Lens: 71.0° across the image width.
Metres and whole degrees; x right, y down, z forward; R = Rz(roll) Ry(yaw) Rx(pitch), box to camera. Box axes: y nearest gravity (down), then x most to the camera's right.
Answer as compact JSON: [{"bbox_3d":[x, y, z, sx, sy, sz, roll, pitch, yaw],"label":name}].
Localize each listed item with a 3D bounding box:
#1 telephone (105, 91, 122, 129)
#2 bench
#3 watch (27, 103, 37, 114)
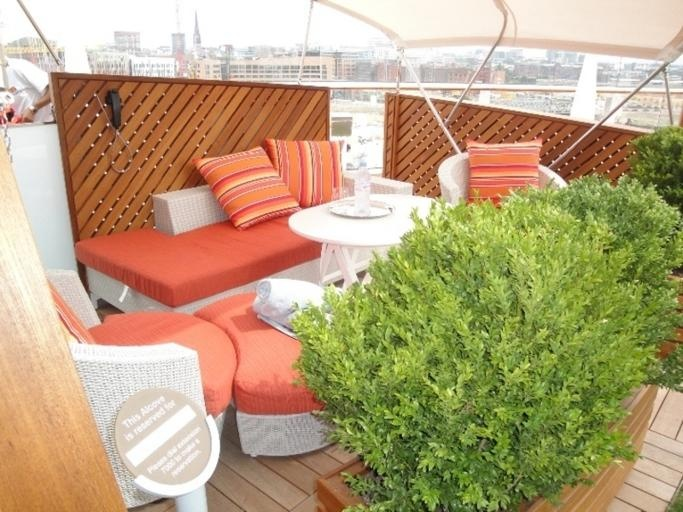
[{"bbox_3d":[-1.323,-0.853,2.778,0.079,0.230,0.061,-11,31,-24],"label":"telephone"},{"bbox_3d":[-0.829,0.003,2.993,2.081,0.768,1.189,-17,26,-42],"label":"bench"},{"bbox_3d":[-1.735,-0.828,2.677,0.033,0.057,0.065,-10,12,-25],"label":"watch"}]
